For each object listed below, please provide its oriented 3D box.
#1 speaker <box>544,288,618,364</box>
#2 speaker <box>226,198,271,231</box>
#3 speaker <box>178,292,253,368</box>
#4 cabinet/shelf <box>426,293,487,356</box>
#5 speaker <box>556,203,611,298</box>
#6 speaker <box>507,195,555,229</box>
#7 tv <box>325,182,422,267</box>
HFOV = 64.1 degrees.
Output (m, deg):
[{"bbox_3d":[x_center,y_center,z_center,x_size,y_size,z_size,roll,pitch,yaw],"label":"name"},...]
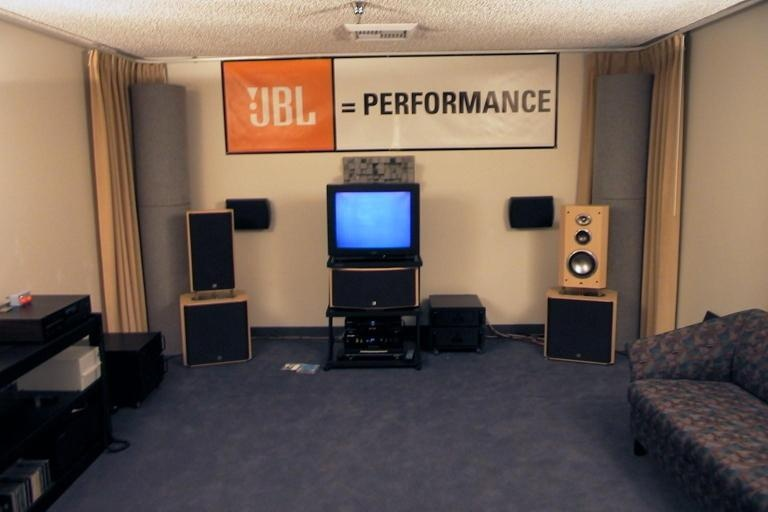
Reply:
[{"bbox_3d":[1.843,0.595,5.773,0.679,0.652,0.646,2,7,19],"label":"speaker"},{"bbox_3d":[-1.296,-0.409,5.933,0.524,0.354,0.276,-1,3,-3],"label":"speaker"},{"bbox_3d":[-1.586,0.645,5.826,0.667,0.622,0.653,-3,12,-15],"label":"speaker"},{"bbox_3d":[0.684,0.640,5.749,0.512,0.373,0.506,0,11,4],"label":"cabinet/shelf"},{"bbox_3d":[1.768,-0.075,5.424,0.394,0.725,0.149,0,10,7],"label":"speaker"},{"bbox_3d":[1.425,-0.417,5.929,0.535,0.360,0.282,0,3,0],"label":"speaker"},{"bbox_3d":[-0.091,-0.320,5.847,1.232,0.948,0.646,-1,2,1],"label":"tv"}]
